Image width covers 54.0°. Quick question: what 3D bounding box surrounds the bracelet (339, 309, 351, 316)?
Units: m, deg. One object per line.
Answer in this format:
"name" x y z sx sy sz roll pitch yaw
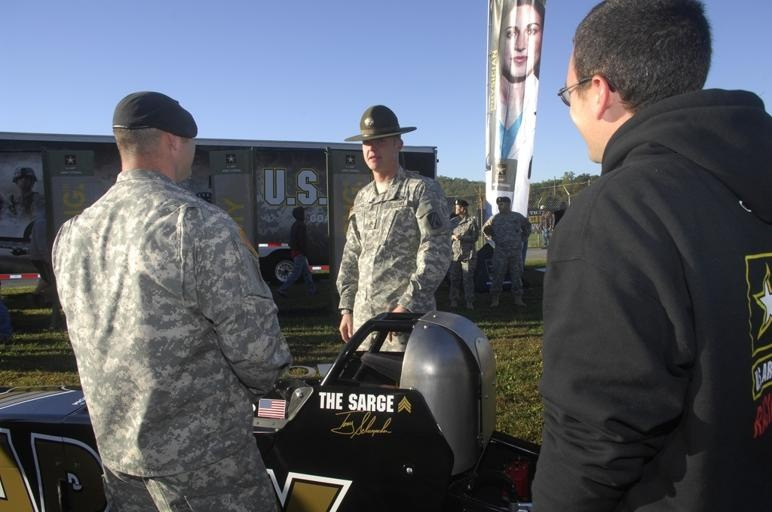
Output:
"bracelet" -0.225 0.301 4.150 0.048 0.035 0.049 2 -7 -5

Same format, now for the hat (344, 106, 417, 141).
"hat" -0.011 -0.690 3.941 0.301 0.184 0.158 -1 5 0

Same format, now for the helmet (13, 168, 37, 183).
"helmet" -5.095 -1.140 10.679 0.263 0.211 0.192 9 -10 -31
